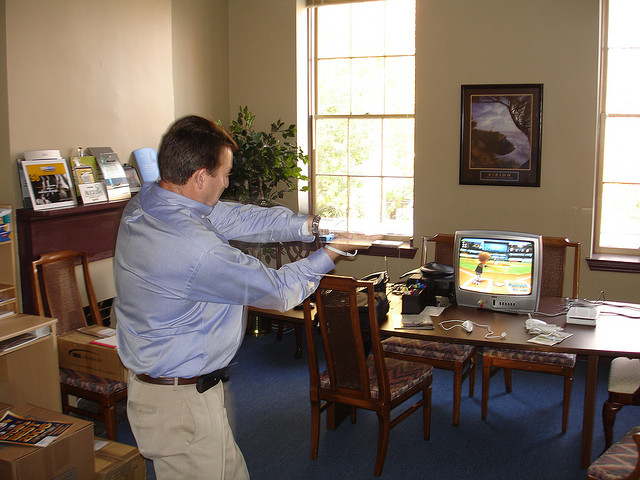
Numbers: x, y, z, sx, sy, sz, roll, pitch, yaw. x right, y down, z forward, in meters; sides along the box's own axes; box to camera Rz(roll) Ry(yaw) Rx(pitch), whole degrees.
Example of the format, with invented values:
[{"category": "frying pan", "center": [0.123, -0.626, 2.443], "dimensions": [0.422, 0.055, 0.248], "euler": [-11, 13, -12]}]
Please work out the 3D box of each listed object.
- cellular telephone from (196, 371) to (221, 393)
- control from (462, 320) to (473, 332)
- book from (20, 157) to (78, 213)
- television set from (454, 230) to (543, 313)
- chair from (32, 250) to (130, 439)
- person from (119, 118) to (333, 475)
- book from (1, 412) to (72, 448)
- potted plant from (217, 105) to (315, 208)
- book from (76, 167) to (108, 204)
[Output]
[{"category": "cellular telephone", "center": [-0.404, 0.515, 1.713], "dimensions": [0.083, 0.052, 0.020], "euler": [-19, 18, -40]}, {"category": "control", "center": [0.912, 0.532, 2.942], "dimensions": [0.058, 0.041, 0.092], "euler": [4, 13, 21]}, {"category": "book", "center": [-1.981, -0.389, 3.446], "dimensions": [0.017, 0.377, 0.353], "euler": [-6, 11, 39]}, {"category": "television set", "center": [1.163, 0.182, 3.399], "dimensions": [0.744, 0.717, 0.488], "euler": [2, 4, 18]}, {"category": "chair", "center": [-1.575, 0.699, 3.335], "dimensions": [0.731, 1.104, 0.636], "euler": [12, 19, 11]}, {"category": "person", "center": [-0.380, 0.266, 1.687], "dimensions": [0.711, 1.362, 0.311], "euler": [5, 13, 23]}, {"category": "book", "center": [-1.362, 0.885, 2.192], "dimensions": [0.405, 0.029, 0.188], "euler": [3, 12, 16]}, {"category": "potted plant", "center": [-0.527, -0.734, 4.651], "dimensions": [0.723, 0.948, 0.685], "euler": [-1, -12, -18]}, {"category": "book", "center": [-1.785, -0.421, 3.705], "dimensions": [0.021, 0.298, 0.242], "euler": [-13, 9, 24]}]
